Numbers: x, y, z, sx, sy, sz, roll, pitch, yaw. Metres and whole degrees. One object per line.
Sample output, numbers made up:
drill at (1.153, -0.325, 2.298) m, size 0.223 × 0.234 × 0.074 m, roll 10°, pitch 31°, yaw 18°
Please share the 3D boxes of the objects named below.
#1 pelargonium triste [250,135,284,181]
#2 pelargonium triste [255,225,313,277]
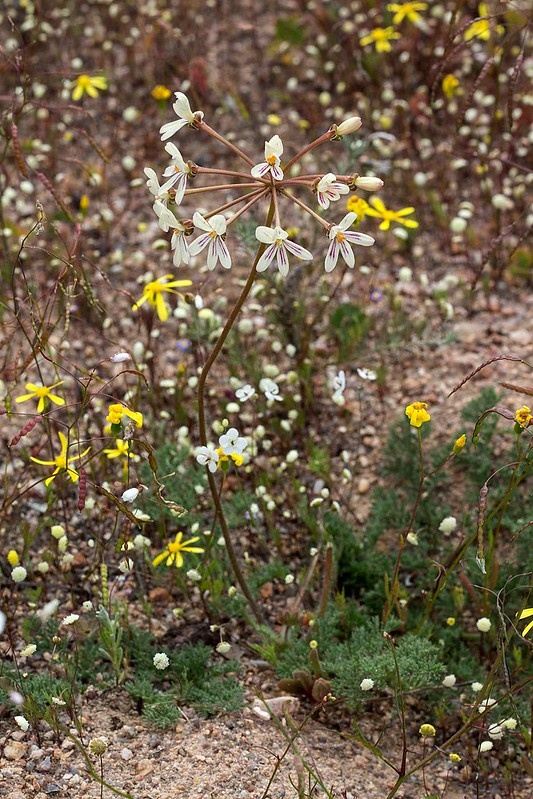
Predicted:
pelargonium triste at (0.000, -0.611, 2.314) m, size 0.095 × 0.128 × 0.062 m, roll 26°, pitch 56°, yaw 14°
pelargonium triste at (0.026, -0.400, 2.315) m, size 0.051 × 0.162 × 0.128 m, roll -30°, pitch 50°, yaw 30°
